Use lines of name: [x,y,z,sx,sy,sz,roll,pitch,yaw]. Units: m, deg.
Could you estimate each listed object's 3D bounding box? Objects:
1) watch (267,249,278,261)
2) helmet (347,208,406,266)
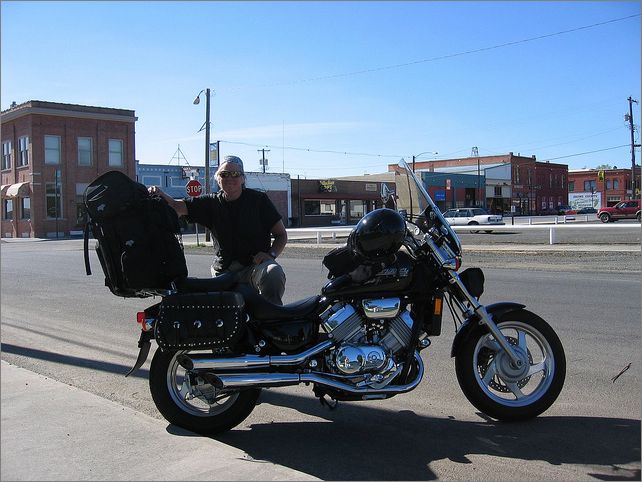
watch: [-0.503,0.153,6.136,0.072,0.087,0.034,17,-49,-31]
helmet: [0.483,-0.035,5.148,0.513,0.467,0.299,0,5,-1]
